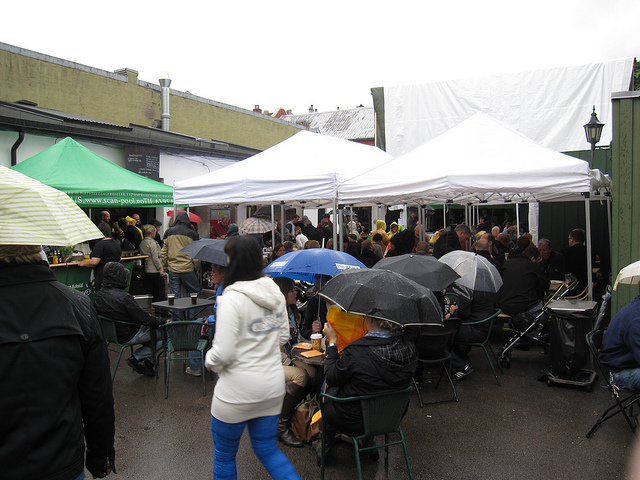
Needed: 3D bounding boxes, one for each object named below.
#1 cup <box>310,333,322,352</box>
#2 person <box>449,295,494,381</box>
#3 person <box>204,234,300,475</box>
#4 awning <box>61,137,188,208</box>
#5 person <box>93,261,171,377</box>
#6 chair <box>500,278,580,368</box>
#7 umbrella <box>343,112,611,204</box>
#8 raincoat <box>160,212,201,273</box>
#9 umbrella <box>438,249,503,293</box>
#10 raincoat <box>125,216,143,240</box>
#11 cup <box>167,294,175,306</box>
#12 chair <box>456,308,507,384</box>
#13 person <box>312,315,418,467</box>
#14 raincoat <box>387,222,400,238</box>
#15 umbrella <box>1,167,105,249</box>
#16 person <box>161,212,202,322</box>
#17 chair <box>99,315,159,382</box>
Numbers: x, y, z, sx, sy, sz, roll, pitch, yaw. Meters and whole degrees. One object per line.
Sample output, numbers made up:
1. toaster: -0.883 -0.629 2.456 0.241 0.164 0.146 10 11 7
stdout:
1. cup: -0.050 1.079 5.787 0.130 0.144 0.137 0 6 0
2. person: 2.031 1.355 7.909 0.860 1.341 1.029 1 0 13
3. person: -0.561 0.926 4.361 0.677 1.902 0.433 -2 8 -14
4. awning: -4.012 -1.128 10.552 1.551 1.405 2.601 12 12 37
5. person: -2.530 0.948 7.510 0.888 1.688 0.990 8 9 -7
6. chair: 3.086 1.066 7.874 1.006 1.326 0.797 1 12 27
7. umbrella: 2.252 -1.053 8.143 2.113 0.999 2.272 1 8 16
8. raincoat: -2.554 0.124 10.129 0.702 1.234 0.508 1 0 3
9. umbrella: 2.029 0.431 7.433 0.625 0.283 0.627 3 27 -44
10. raincoat: -4.112 -0.346 12.045 0.209 0.607 0.420 -19 16 -39
11. cup: -2.141 0.839 7.756 0.150 0.176 0.156 -1 -5 0
12. chair: 2.340 1.357 7.691 0.830 1.102 0.924 1 0 23
13. person: 0.376 1.251 5.122 0.947 1.725 1.011 -1 3 -18
14. raincoat: 1.991 -0.258 15.168 0.338 0.203 0.419 -8 -5 -4
15. umbrella: -1.778 -0.151 3.645 0.538 0.265 0.603 6 10 1
16. person: -2.573 0.340 10.064 0.818 2.300 0.832 3 7 -17
17. chair: -2.593 1.373 7.283 0.659 0.861 0.635 -8 10 -40
